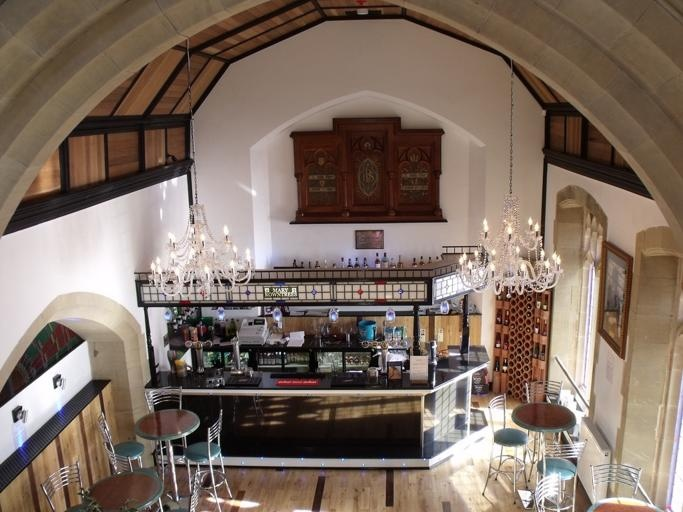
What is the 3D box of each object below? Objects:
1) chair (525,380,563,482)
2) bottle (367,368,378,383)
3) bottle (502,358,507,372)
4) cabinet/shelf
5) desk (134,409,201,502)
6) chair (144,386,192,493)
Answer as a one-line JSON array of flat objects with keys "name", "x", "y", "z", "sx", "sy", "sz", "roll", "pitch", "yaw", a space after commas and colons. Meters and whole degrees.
[{"name": "chair", "x": 3.671, "y": 3.025, "z": 8.844, "sx": 0.640, "sy": 1.721, "sz": 0.701, "roll": -8, "pitch": 11, "yaw": -11}, {"name": "bottle", "x": 0.552, "y": 2.010, "z": 8.566, "sx": 0.184, "sy": 0.232, "sz": 0.262, "roll": 0, "pitch": -2, "yaw": 5}, {"name": "bottle", "x": 3.453, "y": 2.277, "z": 10.594, "sx": 0.108, "sy": 0.277, "sz": 0.072, "roll": 0, "pitch": -1, "yaw": 20}, {"name": "cabinet/shelf", "x": -0.982, "y": 1.891, "z": 9.701, "sx": 4.521, "sy": 0.706, "sz": 1.159, "roll": 0, "pitch": -2, "yaw": 2}, {"name": "desk", "x": -2.684, "y": 3.113, "z": 7.671, "sx": 0.868, "sy": 1.477, "sz": 1.263, "roll": 1, "pitch": -2, "yaw": -27}, {"name": "chair", "x": -2.982, "y": 3.058, "z": 8.558, "sx": 0.537, "sy": 1.520, "sz": 0.623, "roll": -2, "pitch": 21, "yaw": -4}]
